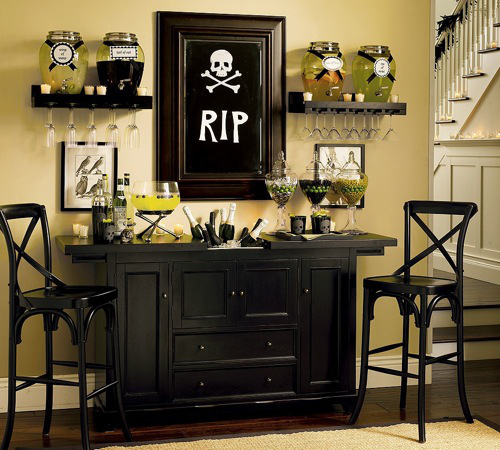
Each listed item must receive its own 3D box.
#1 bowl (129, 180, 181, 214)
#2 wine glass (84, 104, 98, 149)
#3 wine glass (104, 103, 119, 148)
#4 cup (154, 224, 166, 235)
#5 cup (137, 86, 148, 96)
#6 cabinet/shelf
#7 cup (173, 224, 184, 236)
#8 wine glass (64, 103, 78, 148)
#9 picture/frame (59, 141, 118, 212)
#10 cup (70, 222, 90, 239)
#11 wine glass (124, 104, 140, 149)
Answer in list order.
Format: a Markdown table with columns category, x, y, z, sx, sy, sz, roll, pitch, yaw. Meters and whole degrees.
| category | x | y | z | sx | sy | sz | roll | pitch | yaw |
| --- | --- | --- | --- | --- | --- | --- | --- | --- | --- |
| bowl | -0.574 | -0.164 | 3.416 | 0.218 | 0.147 | 0.213 | 0 | 0 | 0 |
| wine glass | -1.013 | -0.623 | 3.582 | 0.065 | 0.263 | 0.060 | -3 | 12 | -32 |
| wine glass | -0.875 | -0.624 | 3.574 | 0.079 | 0.240 | 0.181 | -1 | 4 | -13 |
| cup | -0.596 | 0.030 | 3.707 | 0.073 | 0.083 | 0.072 | 2 | 1 | 0 |
| cup | -0.669 | -0.821 | 3.501 | 0.062 | 0.049 | 0.062 | 1 | 3 | 0 |
| cabinet/shelf | -0.116 | 0.605 | 3.561 | 1.956 | 1.149 | 0.540 | -1 | 7 | -8 |
| cup | -0.447 | 0.031 | 3.542 | 0.059 | 0.101 | 0.065 | 1 | 12 | 0 |
| wine glass | -1.131 | -0.615 | 3.538 | 0.067 | 0.247 | 0.137 | -1 | 4 | -17 |
| picture/frame | -1.048 | -0.308 | 3.580 | 0.446 | 0.594 | 0.025 | 0 | 1 | -18 |
| cup | -1.058 | 0.036 | 3.514 | 0.085 | 0.080 | 0.106 | 2 | 0 | 4 |
| wine glass | -0.756 | -0.623 | 3.597 | 0.092 | 0.243 | 0.178 | -1 | 4 | -13 |
